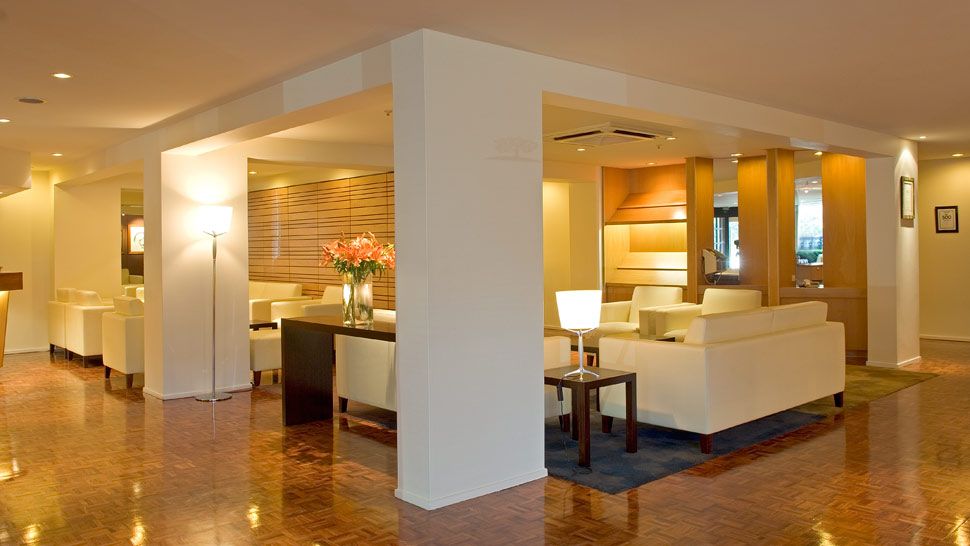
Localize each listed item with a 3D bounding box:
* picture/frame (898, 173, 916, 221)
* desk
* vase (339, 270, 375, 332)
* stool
[{"bbox_3d":[6.827,-1.251,10.323,0.098,1.098,0.872,-1,-2,41],"label":"picture/frame"},{"bbox_3d":[-1.816,1.231,7.885,0.638,1.259,1.667,-3,5,-43],"label":"desk"},{"bbox_3d":[-1.500,0.329,7.603,0.444,0.599,0.414,-2,-3,4],"label":"vase"},{"bbox_3d":[1.151,1.488,6.918,1.090,0.986,0.586,-6,11,-28],"label":"stool"}]
